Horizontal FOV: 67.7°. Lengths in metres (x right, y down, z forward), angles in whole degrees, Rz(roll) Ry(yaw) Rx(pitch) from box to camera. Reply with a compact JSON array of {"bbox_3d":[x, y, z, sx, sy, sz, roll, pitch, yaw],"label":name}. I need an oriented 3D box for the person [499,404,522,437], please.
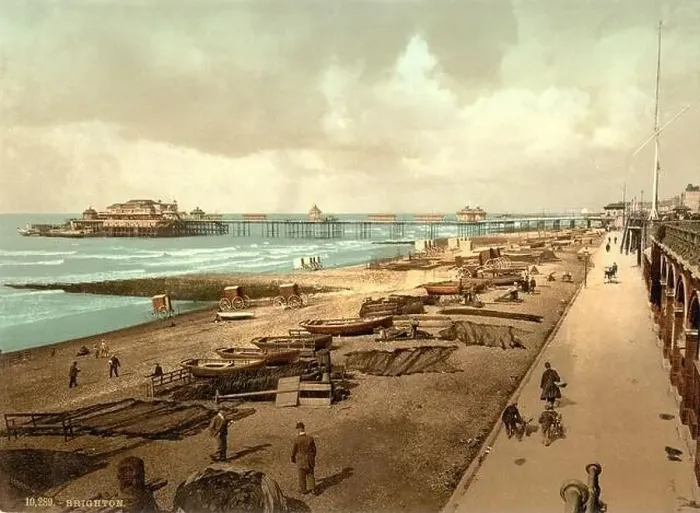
[{"bbox_3d":[6.653,6.570,21.339,0.934,1.143,0.884,-5,11,7],"label":"person"}]
